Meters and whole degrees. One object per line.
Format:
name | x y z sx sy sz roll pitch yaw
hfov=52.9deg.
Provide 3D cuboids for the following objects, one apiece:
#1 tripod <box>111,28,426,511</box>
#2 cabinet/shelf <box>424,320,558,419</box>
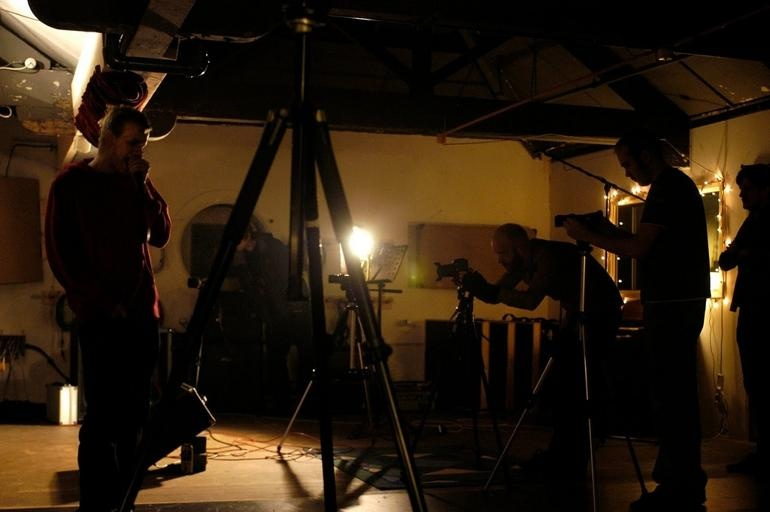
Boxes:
tripod | -0.558 0.082 4.640 1.749 2.877 0.668 3 -10 3
cabinet/shelf | 1.238 1.336 9.835 1.422 1.119 0.477 1 4 1
